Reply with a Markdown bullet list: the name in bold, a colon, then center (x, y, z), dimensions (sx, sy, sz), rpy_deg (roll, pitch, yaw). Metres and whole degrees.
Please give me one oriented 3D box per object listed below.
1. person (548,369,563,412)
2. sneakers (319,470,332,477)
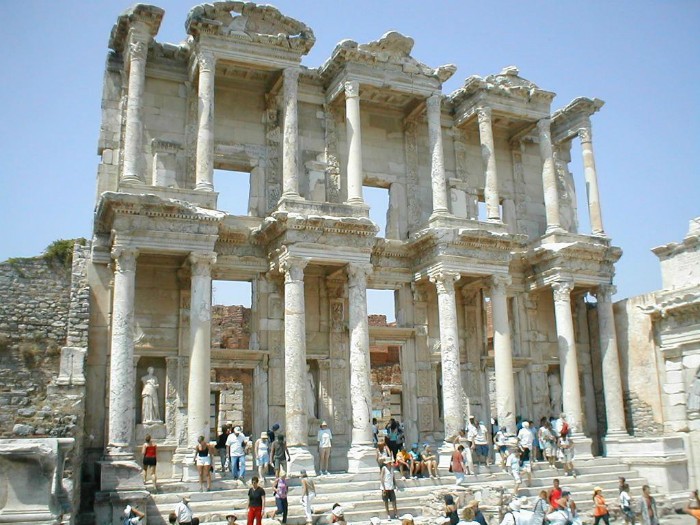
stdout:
- **person**: center (8.175, 5.242, 26.138), dimensions (0.485, 1.558, 0.438), rpy_deg (-8, -16, 21)
- **sneakers**: center (-0.747, 6.335, 19.660), dimensions (0.147, 0.169, 0.435), rpy_deg (11, -21, -34)
